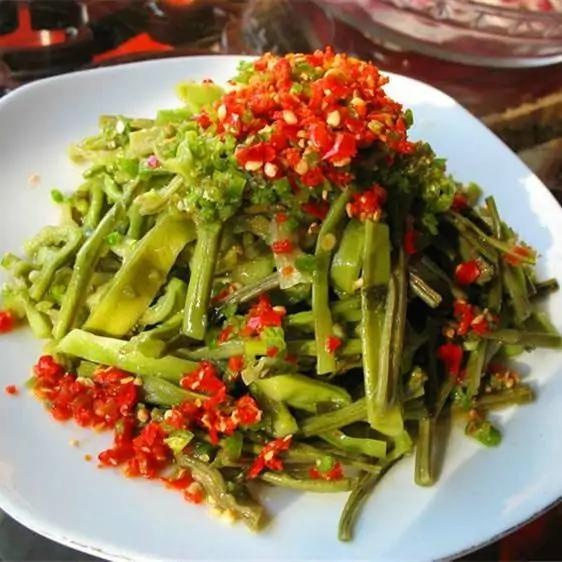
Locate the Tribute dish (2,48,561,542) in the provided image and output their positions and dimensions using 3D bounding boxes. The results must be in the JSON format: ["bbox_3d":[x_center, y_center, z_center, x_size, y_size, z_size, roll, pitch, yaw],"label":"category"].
[{"bbox_3d":[-0.089,-0.050,2.429,3.141,0.464,2.167,-1,78,0],"label":"Tribute dish"}]
